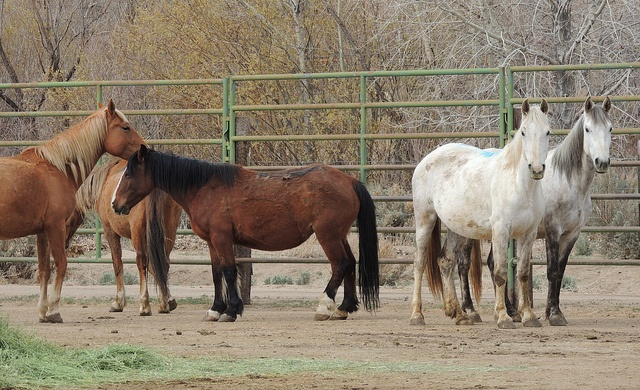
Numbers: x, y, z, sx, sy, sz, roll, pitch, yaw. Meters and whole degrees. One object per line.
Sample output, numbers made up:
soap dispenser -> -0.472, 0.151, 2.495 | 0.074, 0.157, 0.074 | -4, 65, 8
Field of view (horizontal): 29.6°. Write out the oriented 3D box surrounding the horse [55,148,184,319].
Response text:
horse -> -4.481, 0.741, 28.000 | 1.546, 3.801, 5.259 | -3, 2, -30

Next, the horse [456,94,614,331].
horse -> 4.914, 0.561, 26.741 | 1.440, 4.441, 5.609 | 2, -9, -21
